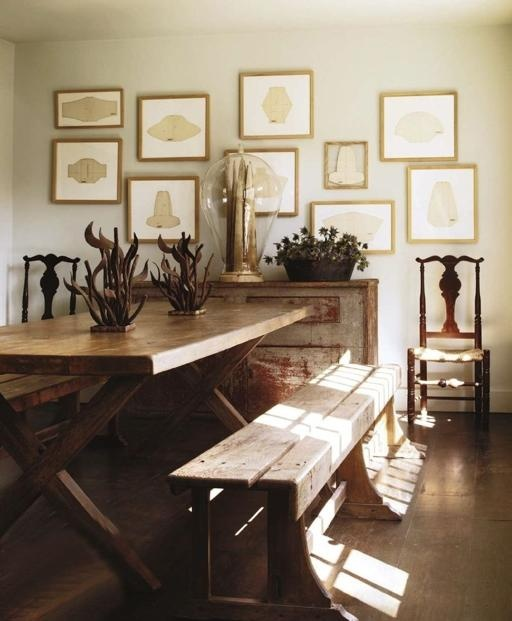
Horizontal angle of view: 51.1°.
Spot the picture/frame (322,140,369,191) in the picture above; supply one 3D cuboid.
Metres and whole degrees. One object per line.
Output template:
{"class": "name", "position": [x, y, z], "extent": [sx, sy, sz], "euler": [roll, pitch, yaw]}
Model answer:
{"class": "picture/frame", "position": [0.589, -0.939, 3.462], "extent": [0.305, 0.341, 0.022], "euler": [0, 1, 7]}

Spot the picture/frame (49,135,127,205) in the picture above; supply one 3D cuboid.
{"class": "picture/frame", "position": [-1.136, -0.964, 3.669], "extent": [0.451, 0.461, 0.048], "euler": [1, 1, 4]}

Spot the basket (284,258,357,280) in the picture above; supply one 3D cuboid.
{"class": "basket", "position": [0.346, -0.228, 3.062], "extent": [0.202, 0.065, 0.197], "euler": [-4, -5, 38]}

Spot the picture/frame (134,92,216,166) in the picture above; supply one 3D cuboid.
{"class": "picture/frame", "position": [-0.526, -1.215, 3.588], "extent": [0.588, 0.537, 0.062], "euler": [0, 4, 5]}

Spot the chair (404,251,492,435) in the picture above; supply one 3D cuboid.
{"class": "chair", "position": [1.159, 0.158, 3.236], "extent": [0.465, 0.993, 0.530], "euler": [2, 3, 18]}
